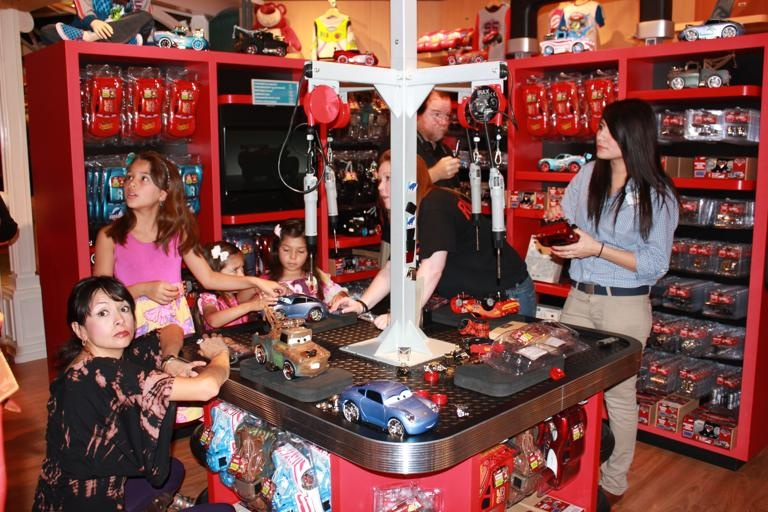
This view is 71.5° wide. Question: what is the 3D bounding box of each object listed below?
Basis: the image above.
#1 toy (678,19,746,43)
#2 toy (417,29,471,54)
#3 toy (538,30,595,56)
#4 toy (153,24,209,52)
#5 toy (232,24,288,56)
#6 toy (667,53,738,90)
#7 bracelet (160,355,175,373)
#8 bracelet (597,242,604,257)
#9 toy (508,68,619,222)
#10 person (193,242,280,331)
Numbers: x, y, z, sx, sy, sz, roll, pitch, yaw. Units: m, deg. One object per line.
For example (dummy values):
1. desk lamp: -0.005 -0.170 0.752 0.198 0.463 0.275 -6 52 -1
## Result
1. toy: 2.128 -1.477 3.479 0.364 0.143 0.287 8 18 38
2. toy: 0.590 -2.085 5.142 0.589 0.173 0.422 -10 13 -41
3. toy: 1.412 -1.611 4.113 0.370 0.147 0.232 3 22 22
4. toy: -1.494 -1.579 3.897 0.330 0.116 0.201 -4 16 -19
5. toy: -0.973 -1.646 4.167 0.368 0.174 0.240 -5 12 -34
6. toy: 2.136 -1.236 3.653 0.354 0.136 0.205 8 26 22
7. bracelet: -0.920 0.457 2.249 0.022 0.057 0.049 39 7 4
8. bracelet: 1.190 -0.040 2.932 0.024 0.061 0.060 14 -1 2
9. toy: 1.349 -0.810 4.261 0.990 1.291 0.319 7 20 26
10. person: -0.926 0.194 3.247 0.454 0.792 0.366 -5 18 -10
